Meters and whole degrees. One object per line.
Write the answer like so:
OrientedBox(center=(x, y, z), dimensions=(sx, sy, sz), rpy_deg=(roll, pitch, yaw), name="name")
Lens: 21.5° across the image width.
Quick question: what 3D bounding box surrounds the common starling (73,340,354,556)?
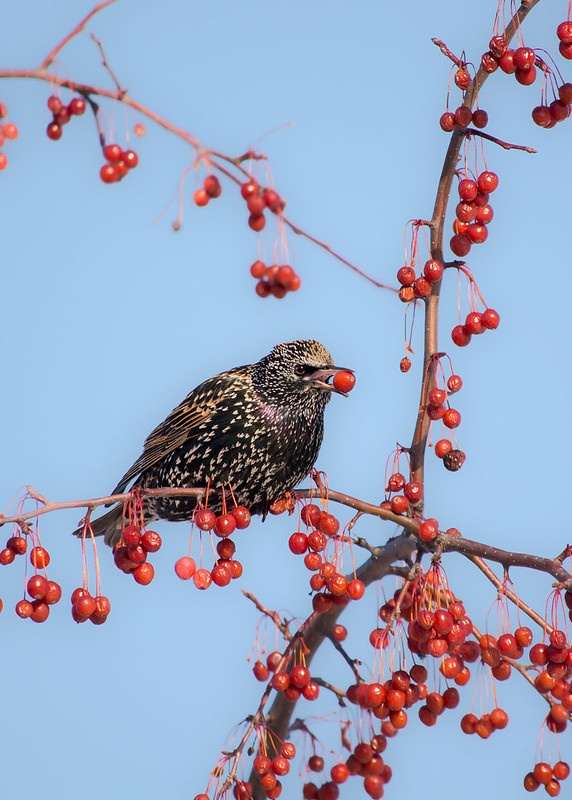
OrientedBox(center=(-0.284, 0.208, 6.343), dimensions=(1.144, 0.910, 0.505), rpy_deg=(-6, -22, 33), name="common starling")
